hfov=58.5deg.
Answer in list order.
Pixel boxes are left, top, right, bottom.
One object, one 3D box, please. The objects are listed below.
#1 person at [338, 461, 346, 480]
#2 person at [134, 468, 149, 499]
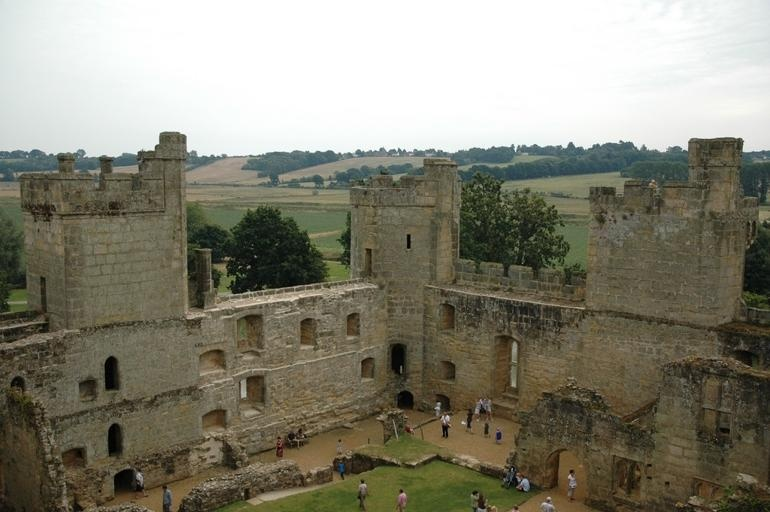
[{"bbox_3d":[-2.091,10.530,33.997,0.373,0.868,1.118,0,11,-3],"label":"person"},{"bbox_3d":[-11.451,10.651,32.382,0.502,1.093,0.903,-4,12,-20],"label":"person"}]
